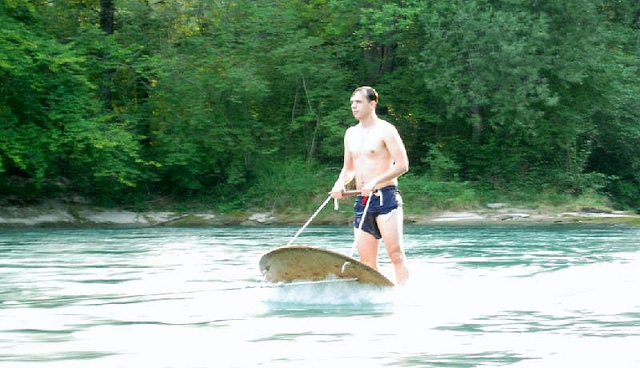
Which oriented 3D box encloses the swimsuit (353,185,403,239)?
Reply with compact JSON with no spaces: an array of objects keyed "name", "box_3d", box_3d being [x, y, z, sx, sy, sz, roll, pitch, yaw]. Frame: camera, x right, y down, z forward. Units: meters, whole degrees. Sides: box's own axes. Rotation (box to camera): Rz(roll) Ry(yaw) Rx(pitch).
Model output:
[{"name":"swimsuit","box_3d":[1.477,0.650,16.159,1.043,1.064,1.360,10,-14,-43]}]
